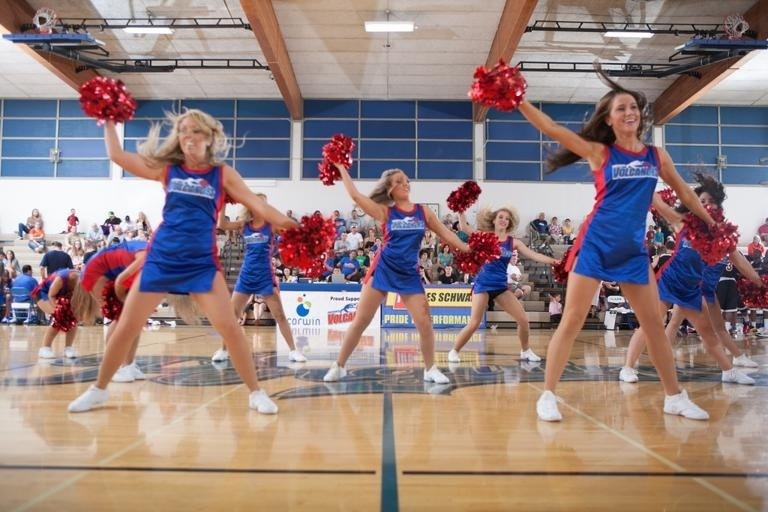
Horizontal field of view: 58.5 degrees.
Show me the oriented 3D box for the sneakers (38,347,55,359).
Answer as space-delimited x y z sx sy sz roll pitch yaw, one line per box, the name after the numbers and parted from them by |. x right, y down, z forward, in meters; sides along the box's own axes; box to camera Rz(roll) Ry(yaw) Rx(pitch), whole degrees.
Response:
-5.086 1.455 10.223 0.348 0.126 0.119 -2 -40 31 | sneakers

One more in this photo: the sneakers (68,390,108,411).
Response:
-3.424 1.689 7.937 0.236 0.156 0.416 -2 -5 23 | sneakers

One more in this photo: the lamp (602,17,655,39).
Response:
6.451 -5.983 18.145 1.225 0.410 1.026 2 0 10 | lamp

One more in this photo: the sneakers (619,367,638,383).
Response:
3.257 1.599 9.145 0.148 0.115 0.295 0 -10 -3 | sneakers

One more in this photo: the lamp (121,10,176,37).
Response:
-6.254 -6.151 18.324 1.384 0.411 1.275 2 0 -7 | lamp

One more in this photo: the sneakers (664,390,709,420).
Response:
3.472 1.739 7.921 0.273 0.192 0.449 2 -3 -33 | sneakers

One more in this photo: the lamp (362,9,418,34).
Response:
0.135 -6.052 17.714 1.388 0.586 0.251 -1 17 -5 | lamp

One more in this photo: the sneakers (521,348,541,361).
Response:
2.234 1.546 10.478 0.172 0.104 0.271 1 -9 -15 | sneakers
